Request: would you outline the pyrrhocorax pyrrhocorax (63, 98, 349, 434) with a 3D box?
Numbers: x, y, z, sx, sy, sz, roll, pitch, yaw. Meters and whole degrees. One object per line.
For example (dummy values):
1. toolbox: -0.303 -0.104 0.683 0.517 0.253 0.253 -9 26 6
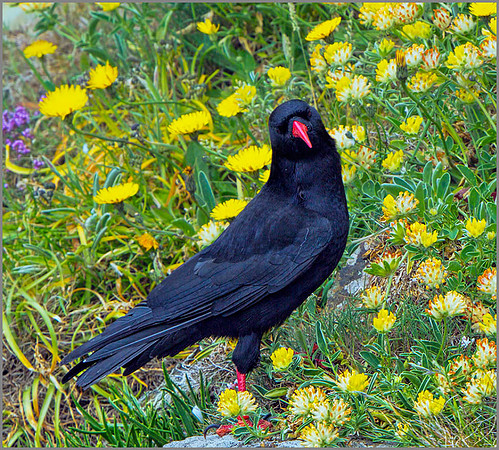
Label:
1. pyrrhocorax pyrrhocorax: -0.269 0.162 4.855 1.708 2.173 1.051 4 -7 1
